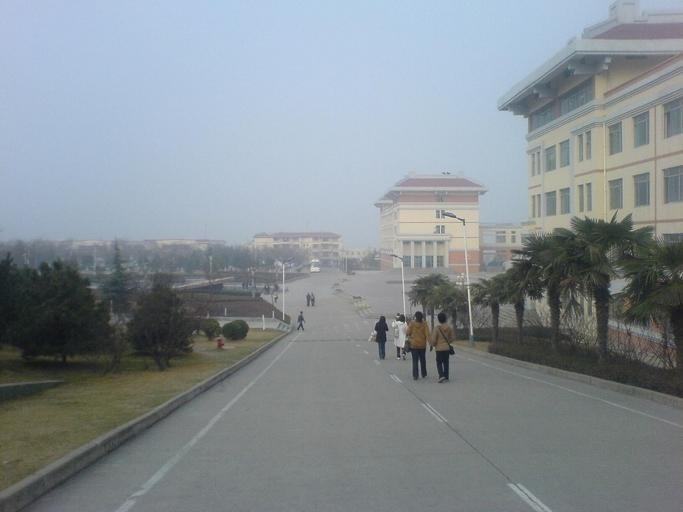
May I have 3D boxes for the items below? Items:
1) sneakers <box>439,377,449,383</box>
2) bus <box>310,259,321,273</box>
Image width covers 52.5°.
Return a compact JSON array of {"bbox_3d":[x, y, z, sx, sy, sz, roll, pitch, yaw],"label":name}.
[{"bbox_3d":[2.942,3.618,20.176,0.116,0.164,0.357,-2,-20,-7],"label":"sneakers"},{"bbox_3d":[-7.042,2.766,181.729,1.978,2.796,5.616,-1,-3,-2],"label":"bus"}]
